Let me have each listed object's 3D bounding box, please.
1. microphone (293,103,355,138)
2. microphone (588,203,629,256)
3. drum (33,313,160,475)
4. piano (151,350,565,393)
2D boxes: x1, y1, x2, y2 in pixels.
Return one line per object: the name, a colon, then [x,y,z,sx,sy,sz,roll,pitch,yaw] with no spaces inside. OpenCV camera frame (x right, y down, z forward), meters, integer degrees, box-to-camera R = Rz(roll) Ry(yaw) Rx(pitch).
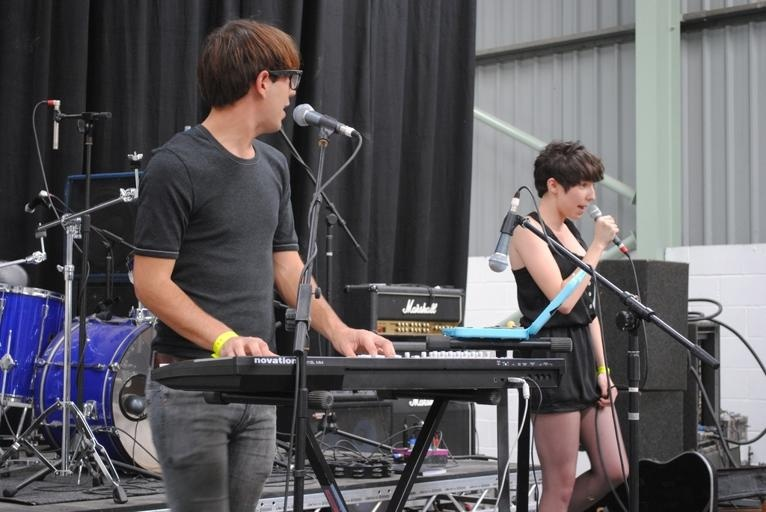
microphone: [-0.321,-0.652,6.000,0.401,0.124,0.126,22,-11,41]
microphone: [1.411,-0.158,7.964,0.089,0.517,0.104,-38,-33,-11]
drum: [-1.525,0.762,7.446,0.567,0.878,0.866,2,-4,30]
piano: [-0.091,0.529,5.726,1.833,0.175,0.258,1,-4,-15]
